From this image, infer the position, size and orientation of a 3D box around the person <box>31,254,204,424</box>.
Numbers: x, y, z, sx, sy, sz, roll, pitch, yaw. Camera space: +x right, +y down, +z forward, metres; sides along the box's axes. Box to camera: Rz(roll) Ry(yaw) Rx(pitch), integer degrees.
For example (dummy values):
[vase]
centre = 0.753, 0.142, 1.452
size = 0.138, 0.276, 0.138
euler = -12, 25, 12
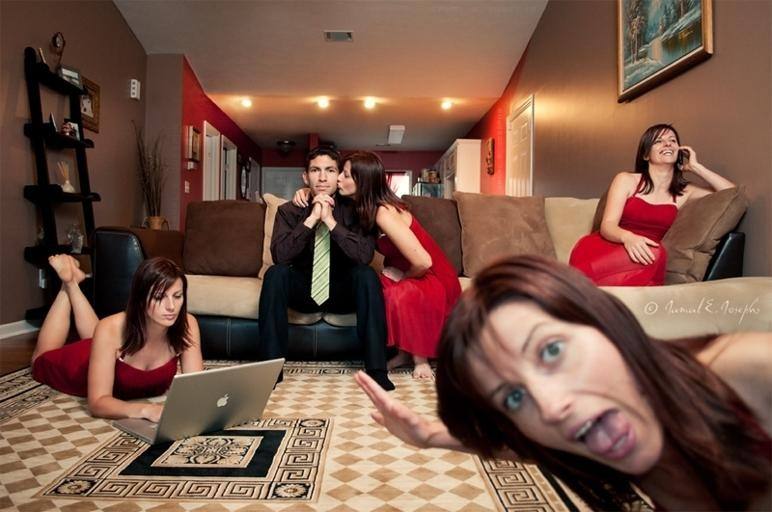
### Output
[person]
centre = -1.092, 0.284, 1.948
size = 1.117, 0.551, 0.408
euler = 9, 5, 31

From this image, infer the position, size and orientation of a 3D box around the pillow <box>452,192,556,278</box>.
[pillow]
centre = 0.669, -0.171, 2.838
size = 0.636, 0.574, 0.192
euler = -3, -20, -5

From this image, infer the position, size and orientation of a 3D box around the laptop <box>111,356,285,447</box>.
[laptop]
centre = -0.563, 0.410, 1.559
size = 0.334, 0.193, 0.343
euler = 3, 0, 33
